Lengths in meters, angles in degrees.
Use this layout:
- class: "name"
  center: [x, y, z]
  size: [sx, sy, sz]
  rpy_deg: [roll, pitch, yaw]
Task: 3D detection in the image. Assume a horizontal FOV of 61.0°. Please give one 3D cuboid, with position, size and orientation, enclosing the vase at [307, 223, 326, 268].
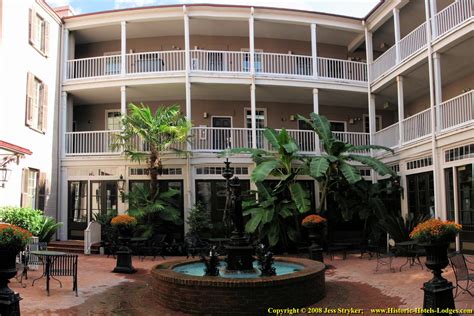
- class: "vase"
  center: [2.921, 3.148, 14.873]
  size: [0.567, 1.458, 0.978]
  rpy_deg: [0, 2, 10]

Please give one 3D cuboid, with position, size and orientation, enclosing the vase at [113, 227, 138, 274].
- class: "vase"
  center: [-4.019, 3.298, 14.351]
  size: [0.966, 1.400, 0.955]
  rpy_deg: [-8, -9, 43]

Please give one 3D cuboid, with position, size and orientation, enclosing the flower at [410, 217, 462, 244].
- class: "flower"
  center: [4.928, 1.775, 9.877]
  size: [0.968, 0.586, 0.939]
  rpy_deg: [-16, -16, 28]

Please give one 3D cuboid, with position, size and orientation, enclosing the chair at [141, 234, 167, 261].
- class: "chair"
  center: [-3.526, 3.688, 16.790]
  size: [0.745, 0.984, 0.926]
  rpy_deg: [-7, -8, 42]

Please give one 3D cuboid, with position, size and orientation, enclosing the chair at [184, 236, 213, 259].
- class: "chair"
  center: [-1.626, 3.684, 16.639]
  size: [0.951, 1.159, 0.867]
  rpy_deg: [-7, -17, 23]

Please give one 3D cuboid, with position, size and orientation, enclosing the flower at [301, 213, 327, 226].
- class: "flower"
  center: [2.864, 2.325, 14.941]
  size: [0.817, 0.427, 0.431]
  rpy_deg: [0, 2, 9]

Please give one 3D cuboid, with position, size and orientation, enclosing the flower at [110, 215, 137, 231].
- class: "flower"
  center: [-4.051, 2.291, 14.504]
  size: [0.777, 0.411, 0.758]
  rpy_deg: [14, -8, -35]
